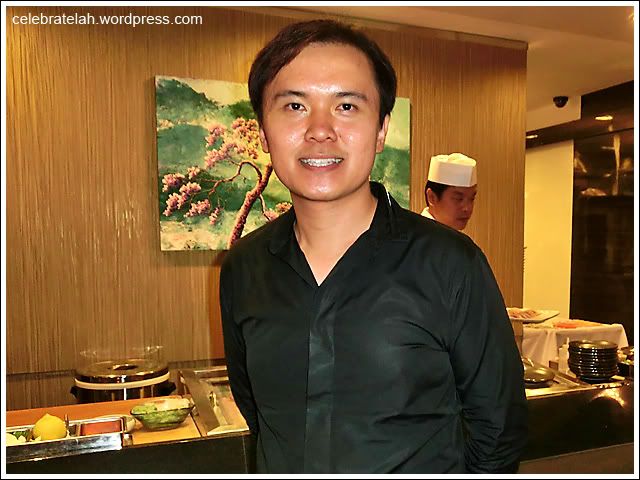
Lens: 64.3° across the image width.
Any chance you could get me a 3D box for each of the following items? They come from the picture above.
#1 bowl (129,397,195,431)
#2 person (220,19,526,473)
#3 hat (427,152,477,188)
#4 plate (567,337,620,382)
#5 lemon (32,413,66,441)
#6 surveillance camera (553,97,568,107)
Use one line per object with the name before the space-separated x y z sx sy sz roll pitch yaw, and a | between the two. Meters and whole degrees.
bowl | -0.663 0.725 2.163 0.250 0.107 0.254 -3 1 0
person | 0.061 0.042 1.442 0.910 1.324 0.432 -3 2 23
hat | 0.846 -0.423 3.242 0.272 0.151 0.263 1 3 -36
plate | 1.317 0.585 2.451 0.199 0.133 0.170 4 -8 -25
lemon | -1.046 0.706 1.956 0.095 0.057 0.093 0 5 0
surveillance camera | 2.965 -1.685 6.235 0.141 0.091 0.138 -4 7 -40
